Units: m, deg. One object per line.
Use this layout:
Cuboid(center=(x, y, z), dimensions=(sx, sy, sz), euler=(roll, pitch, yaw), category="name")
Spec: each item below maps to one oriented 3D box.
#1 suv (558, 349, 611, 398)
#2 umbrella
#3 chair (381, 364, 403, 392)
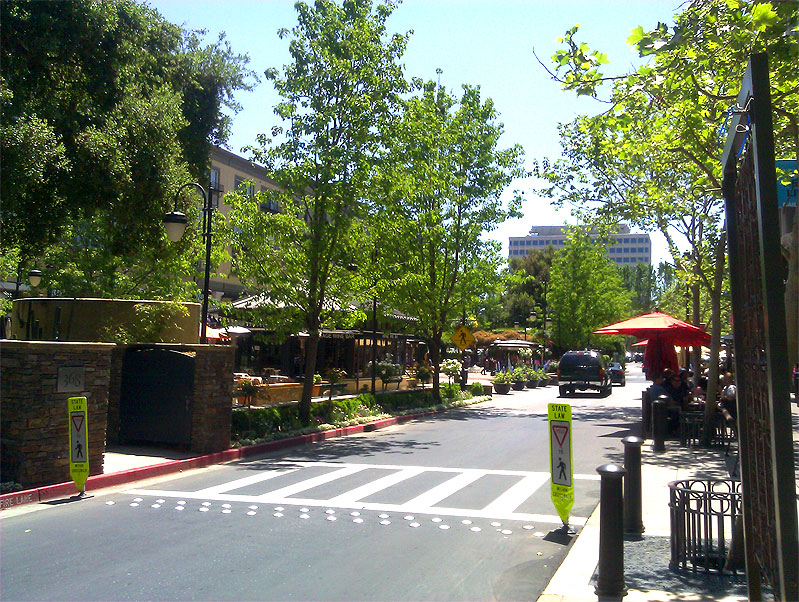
Cuboid(center=(10.025, 3.726, 36.558), dimensions=(1.648, 1.715, 3.343), euler=(-1, 0, 19), category="suv")
Cuboid(center=(7.833, 1.096, 20.460), dimensions=(2.592, 2.076, 2.737), euler=(-5, -8, 43), category="umbrella")
Cuboid(center=(-0.385, 3.855, 33.801), dimensions=(1.076, 1.376, 1.491), euler=(-2, -4, 28), category="chair")
